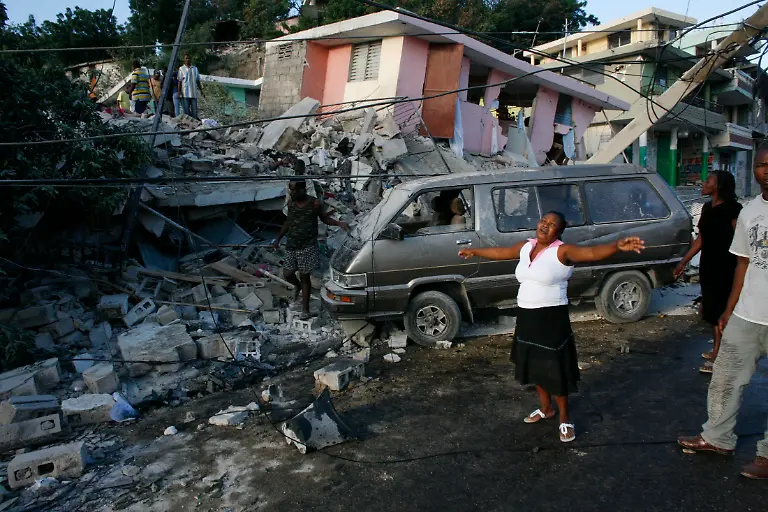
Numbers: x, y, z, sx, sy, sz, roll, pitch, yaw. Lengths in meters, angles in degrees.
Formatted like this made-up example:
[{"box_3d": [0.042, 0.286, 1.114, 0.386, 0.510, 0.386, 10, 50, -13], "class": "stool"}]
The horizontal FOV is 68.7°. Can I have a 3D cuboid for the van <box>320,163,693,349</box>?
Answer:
[{"box_3d": [1.918, -0.131, 9.580, 5.440, 2.174, 2.742, -3, 3, -7], "class": "van"}]

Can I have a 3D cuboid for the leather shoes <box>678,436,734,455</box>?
[{"box_3d": [3.474, 2.073, 6.068, 0.442, 0.180, 0.204, 7, 10, 26], "class": "leather shoes"}]

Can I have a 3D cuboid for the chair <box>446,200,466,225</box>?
[{"box_3d": [1.145, -0.697, 8.767, 0.181, 0.280, 0.366, 13, 21, 31], "class": "chair"}]

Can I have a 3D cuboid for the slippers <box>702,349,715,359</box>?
[{"box_3d": [4.487, 1.360, 7.736, 0.154, 0.084, 0.252, -3, -3, 39], "class": "slippers"}]

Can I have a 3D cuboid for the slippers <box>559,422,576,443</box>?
[{"box_3d": [2.111, 2.016, 6.432, 0.137, 0.106, 0.262, -5, 10, 18], "class": "slippers"}]

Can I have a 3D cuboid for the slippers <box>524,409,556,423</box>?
[{"box_3d": [1.865, 1.918, 6.761, 0.298, 0.101, 0.155, -1, 7, -8], "class": "slippers"}]
